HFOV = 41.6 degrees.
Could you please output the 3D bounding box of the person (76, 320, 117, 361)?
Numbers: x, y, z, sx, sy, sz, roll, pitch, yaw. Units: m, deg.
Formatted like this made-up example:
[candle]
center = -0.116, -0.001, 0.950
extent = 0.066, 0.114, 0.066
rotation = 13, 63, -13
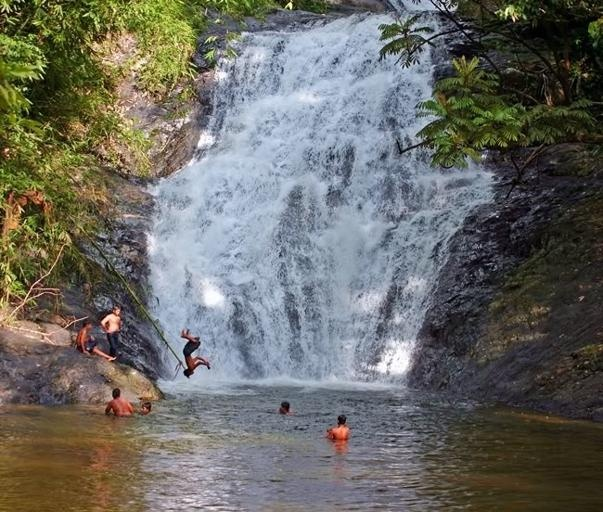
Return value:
[person]
center = -4.291, 1.783, 16.548
extent = 0.893, 0.662, 0.434
rotation = 17, -8, -30
